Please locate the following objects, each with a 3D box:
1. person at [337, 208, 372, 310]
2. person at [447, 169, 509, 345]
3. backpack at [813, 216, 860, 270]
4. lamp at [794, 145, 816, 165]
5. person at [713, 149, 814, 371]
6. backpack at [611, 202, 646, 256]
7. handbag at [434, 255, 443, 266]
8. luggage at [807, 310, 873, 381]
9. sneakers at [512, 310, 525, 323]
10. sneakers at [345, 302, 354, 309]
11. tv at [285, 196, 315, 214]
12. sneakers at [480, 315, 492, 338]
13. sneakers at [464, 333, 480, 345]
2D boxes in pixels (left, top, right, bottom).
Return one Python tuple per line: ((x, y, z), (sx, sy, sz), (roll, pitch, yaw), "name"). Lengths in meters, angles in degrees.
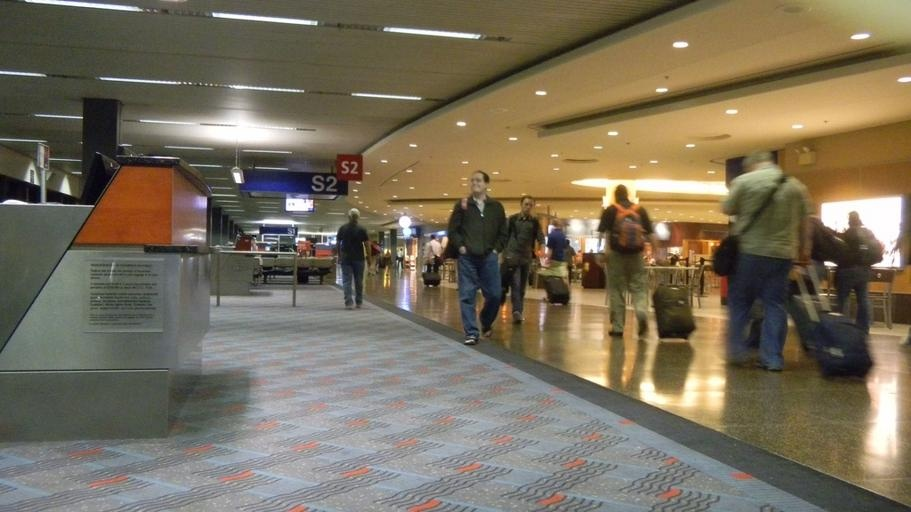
((-2.138, 0.139, 12.586), (0.632, 2.105, 1.201), (-2, 14, -10), "person")
((0.270, 0.074, 8.319), (0.773, 2.401, 1.099), (4, 15, 12), "person")
((4.729, -0.163, 7.646), (0.905, 0.676, 0.342), (-12, 19, -43), "backpack")
((8.353, -2.394, 14.440), (0.315, 0.445, 0.532), (5, -7, -14), "lamp")
((3.534, 0.046, 7.064), (0.941, 2.433, 0.826), (8, 16, 26), "person")
((2.469, -0.367, 8.609), (0.481, 0.677, 0.359), (5, 15, 16), "backpack")
((-0.763, 0.213, 26.093), (0.324, 0.263, 0.531), (-3, -12, -1), "handbag")
((4.273, 1.001, 6.736), (0.305, 0.434, 0.846), (-14, 5, 19), "luggage")
((1.063, 1.049, 10.335), (0.177, 0.140, 0.341), (-1, -14, 1), "sneakers")
((-2.151, 1.022, 12.198), (0.162, 0.149, 0.392), (0, -1, -1), "sneakers")
((-7.336, -2.346, 28.550), (1.313, 0.249, 1.083), (1, -4, -6), "tv")
((0.457, 1.030, 8.752), (0.144, 0.328, 0.143), (-7, 10, -13), "sneakers")
((0.214, 1.131, 8.101), (0.193, 0.124, 0.220), (1, 13, 0), "sneakers")
